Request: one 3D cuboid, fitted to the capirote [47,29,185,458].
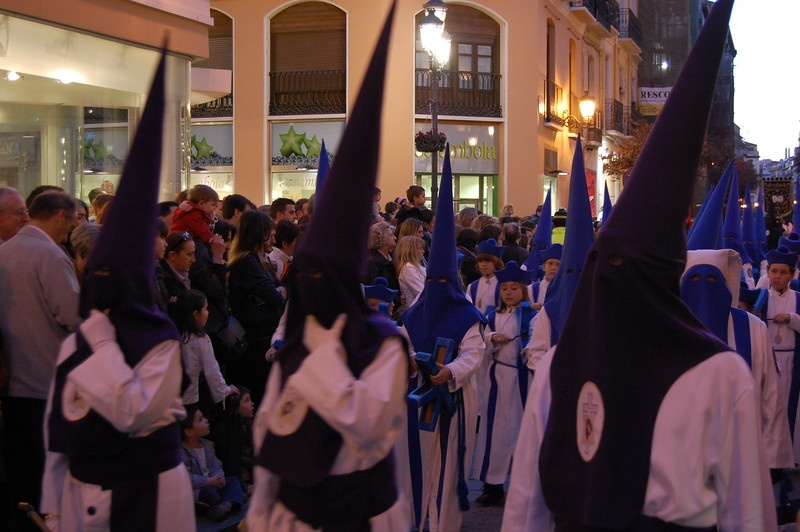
[{"bbox_3d":[-1.769,-0.194,5.384,0.654,2.015,0.566,8,6,-6],"label":"capirote"}]

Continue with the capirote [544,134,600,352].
[{"bbox_3d":[1.446,-0.158,6.600,0.428,1.934,0.519,4,30,10],"label":"capirote"}]

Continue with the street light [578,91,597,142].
[{"bbox_3d":[4.489,-3.492,18.800,0.421,1.258,0.501,-8,-6,11],"label":"street light"}]

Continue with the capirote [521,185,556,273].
[{"bbox_3d":[1.966,-0.404,10.981,0.502,0.504,1.438,-2,45,2],"label":"capirote"}]

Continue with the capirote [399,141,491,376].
[{"bbox_3d":[0.408,-0.065,7.182,0.711,1.800,0.390,-5,-15,27],"label":"capirote"}]

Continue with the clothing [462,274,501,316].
[{"bbox_3d":[0.942,0.336,8.883,0.387,0.425,0.225,-4,-12,36],"label":"clothing"}]

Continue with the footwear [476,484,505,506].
[{"bbox_3d":[0.929,2.299,7.969,0.317,0.248,0.131,8,-23,-16],"label":"footwear"}]
